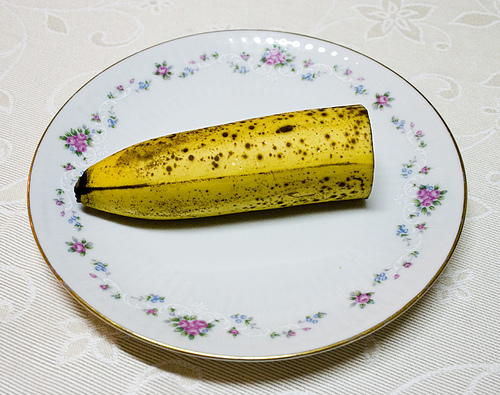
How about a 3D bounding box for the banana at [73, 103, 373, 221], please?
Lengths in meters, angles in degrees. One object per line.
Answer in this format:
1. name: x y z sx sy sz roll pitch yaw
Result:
1. banana: -0.126 -0.054 1.335 0.711 0.210 0.210 -8 83 3
